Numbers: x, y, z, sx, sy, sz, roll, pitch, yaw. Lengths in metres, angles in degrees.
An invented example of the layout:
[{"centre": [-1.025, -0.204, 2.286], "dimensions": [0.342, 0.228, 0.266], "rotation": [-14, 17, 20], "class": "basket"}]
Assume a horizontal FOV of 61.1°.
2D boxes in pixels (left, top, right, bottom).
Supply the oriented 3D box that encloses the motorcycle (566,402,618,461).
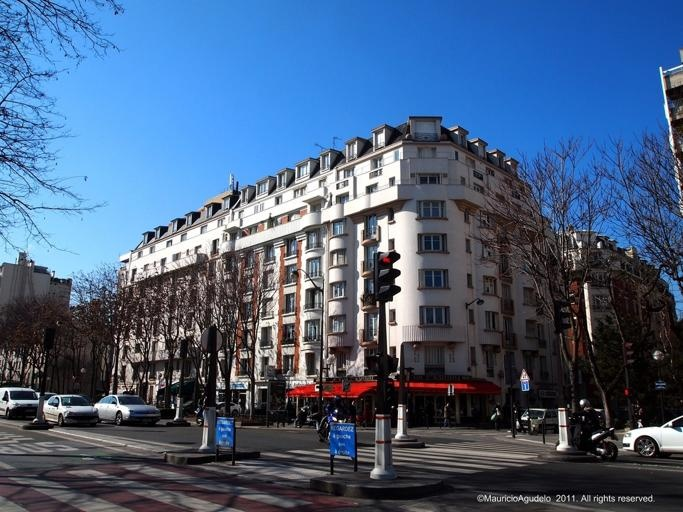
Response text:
[{"centre": [8.525, 5.903, 19.751], "dimensions": [1.325, 1.985, 1.109], "rotation": [-8, -18, 22], "class": "motorcycle"}]
